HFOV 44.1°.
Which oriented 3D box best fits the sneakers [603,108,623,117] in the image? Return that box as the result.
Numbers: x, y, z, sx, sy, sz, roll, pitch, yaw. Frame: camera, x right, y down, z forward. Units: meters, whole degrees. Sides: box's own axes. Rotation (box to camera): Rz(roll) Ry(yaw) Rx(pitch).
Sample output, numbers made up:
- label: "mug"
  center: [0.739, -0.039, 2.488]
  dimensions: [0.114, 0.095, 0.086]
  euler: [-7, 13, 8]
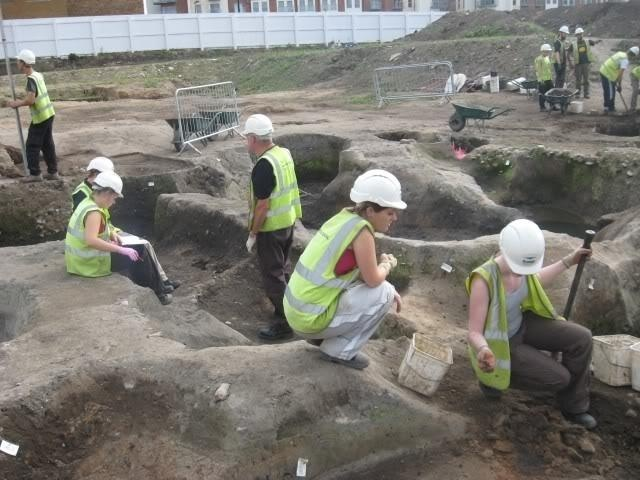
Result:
- label: "sneakers"
  center: [6.482, -2.820, 17.599]
  dimensions: [0.433, 0.203, 0.150]
  euler: [-9, 25, -5]

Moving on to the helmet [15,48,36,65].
- label: "helmet"
  center: [-4.680, -2.920, 12.690]
  dimensions: [0.219, 0.226, 0.465]
  euler: [-7, 18, -15]

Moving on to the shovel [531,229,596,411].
- label: "shovel"
  center: [2.663, 1.064, 9.129]
  dimensions: [0.293, 2.823, 0.301]
  euler: [19, 32, 22]

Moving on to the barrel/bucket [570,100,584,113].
- label: "barrel/bucket"
  center: [5.909, -3.047, 18.262]
  dimensions: [0.289, 0.248, 0.294]
  euler: [-2, 17, 1]

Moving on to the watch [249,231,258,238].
- label: "watch"
  center: [-0.802, -0.073, 9.579]
  dimensions: [0.094, 0.081, 0.116]
  euler: [-3, 17, -5]

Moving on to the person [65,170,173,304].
- label: "person"
  center: [-2.564, 0.028, 9.929]
  dimensions: [1.164, 1.765, 0.609]
  euler: [-10, 19, -26]

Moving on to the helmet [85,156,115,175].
- label: "helmet"
  center: [-2.916, -0.993, 10.561]
  dimensions: [0.299, 0.242, 0.433]
  euler: [13, -1, -19]

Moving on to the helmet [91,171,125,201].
- label: "helmet"
  center: [-2.582, -0.677, 9.798]
  dimensions: [0.386, 0.240, 0.275]
  euler: [14, 14, -27]

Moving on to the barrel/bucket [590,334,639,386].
- label: "barrel/bucket"
  center: [3.226, 1.256, 8.781]
  dimensions: [0.516, 0.525, 0.503]
  euler: [0, 5, 0]

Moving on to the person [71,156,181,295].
- label: "person"
  center: [-2.457, -0.025, 10.154]
  dimensions: [1.461, 1.683, 0.787]
  euler: [-1, 13, -29]

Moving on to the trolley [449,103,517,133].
- label: "trolley"
  center: [3.337, -2.433, 16.485]
  dimensions: [1.352, 0.663, 0.733]
  euler: [11, 25, 14]

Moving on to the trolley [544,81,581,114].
- label: "trolley"
  center: [5.532, -3.181, 18.225]
  dimensions: [0.531, 0.414, 0.991]
  euler: [7, 25, 25]

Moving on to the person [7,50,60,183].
- label: "person"
  center: [-4.675, -1.997, 13.011]
  dimensions: [0.606, 2.179, 1.076]
  euler: [-7, 17, -18]

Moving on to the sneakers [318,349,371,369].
- label: "sneakers"
  center: [0.262, 1.257, 8.480]
  dimensions: [0.533, 0.247, 0.201]
  euler: [-5, 20, -11]

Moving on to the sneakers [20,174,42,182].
- label: "sneakers"
  center: [-4.851, -1.031, 13.384]
  dimensions: [0.284, 0.130, 0.123]
  euler: [-1, 17, -25]

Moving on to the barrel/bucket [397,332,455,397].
- label: "barrel/bucket"
  center: [1.108, 1.354, 8.674]
  dimensions: [0.601, 0.638, 0.621]
  euler: [22, 13, -5]

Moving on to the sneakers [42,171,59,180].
- label: "sneakers"
  center: [-4.588, -1.095, 13.588]
  dimensions: [0.273, 0.127, 0.105]
  euler: [6, 29, 1]

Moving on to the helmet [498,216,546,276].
- label: "helmet"
  center: [2.065, 0.069, 8.182]
  dimensions: [0.378, 0.308, 0.572]
  euler: [-3, 48, 5]

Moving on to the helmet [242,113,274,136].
- label: "helmet"
  center: [-0.749, -1.374, 9.458]
  dimensions: [0.312, 0.190, 0.249]
  euler: [14, 27, 29]

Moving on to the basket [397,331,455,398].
- label: "basket"
  center: [1.047, 1.320, 8.612]
  dimensions: [0.602, 0.636, 0.621]
  euler: [23, 13, -1]

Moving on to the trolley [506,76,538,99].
- label: "trolley"
  center: [5.552, -4.190, 21.686]
  dimensions: [0.662, 0.473, 2.129]
  euler: [1, 17, 8]

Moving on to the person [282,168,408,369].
- label: "person"
  center: [0.264, 0.278, 8.513]
  dimensions: [1.231, 2.073, 1.135]
  euler: [-13, 22, -41]

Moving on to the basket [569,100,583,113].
- label: "basket"
  center: [5.911, -3.052, 18.277]
  dimensions: [0.288, 0.248, 0.322]
  euler: [3, 18, 17]

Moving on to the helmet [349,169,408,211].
- label: "helmet"
  center: [0.594, -0.553, 8.202]
  dimensions: [0.475, 0.274, 0.369]
  euler: [9, 21, 14]
